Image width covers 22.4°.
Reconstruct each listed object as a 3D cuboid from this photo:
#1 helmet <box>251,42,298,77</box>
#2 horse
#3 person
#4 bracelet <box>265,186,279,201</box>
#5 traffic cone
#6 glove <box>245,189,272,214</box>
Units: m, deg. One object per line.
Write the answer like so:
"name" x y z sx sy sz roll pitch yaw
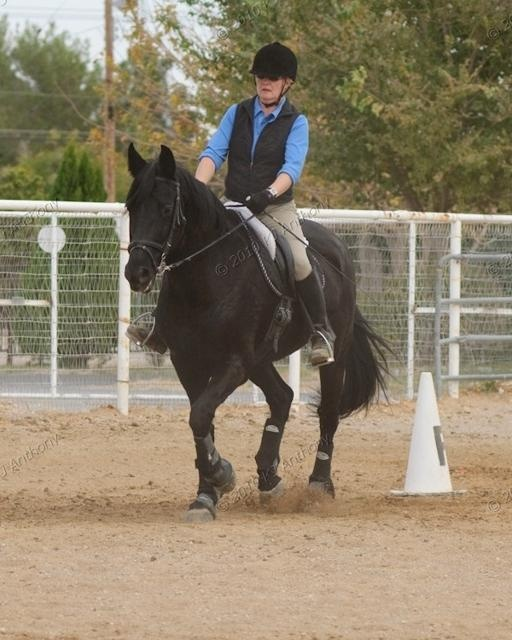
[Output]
"helmet" 0.136 -1.871 9.320 0.378 0.271 0.213 -1 6 -17
"horse" 0.037 0.211 9.803 0.887 2.616 3.784 0 -3 27
"person" -0.013 -0.867 9.388 1.152 2.369 1.088 2 6 12
"bracelet" 0.113 -0.887 9.055 0.086 0.097 0.084 -9 6 -15
"traffic cone" 1.319 0.865 9.794 0.531 0.931 0.338 2 6 8
"glove" 0.014 -0.851 9.011 0.137 0.192 0.081 4 43 -50
